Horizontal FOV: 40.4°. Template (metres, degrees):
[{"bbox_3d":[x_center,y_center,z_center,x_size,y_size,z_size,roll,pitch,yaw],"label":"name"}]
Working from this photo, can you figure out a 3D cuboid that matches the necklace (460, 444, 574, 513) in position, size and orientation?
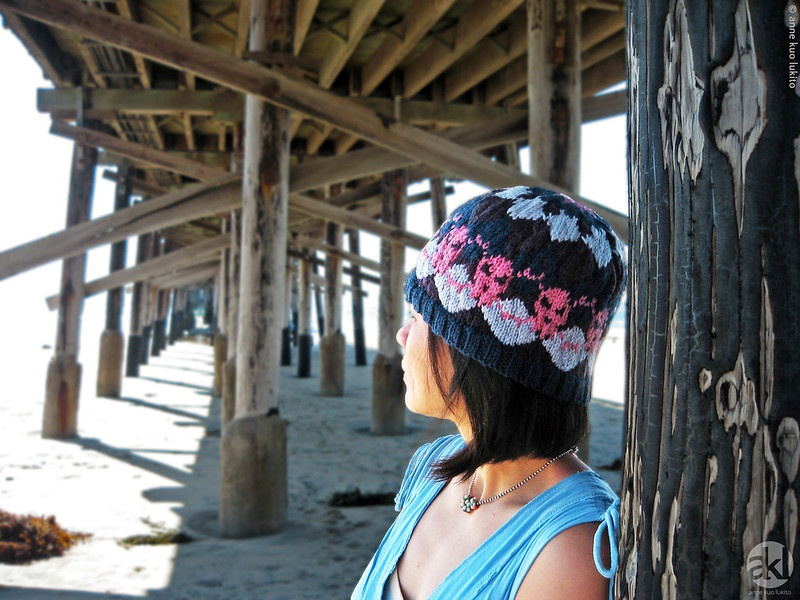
[{"bbox_3d":[0.569,0.943,5.267,0.509,0.130,0.301,-39,10,9],"label":"necklace"}]
